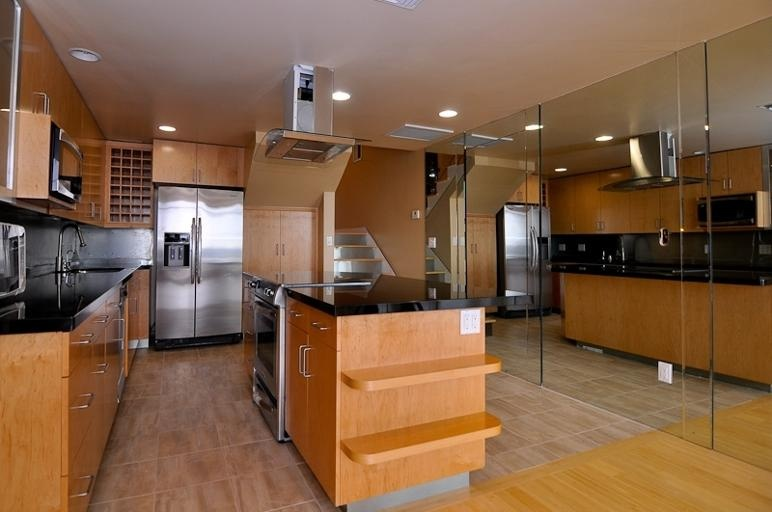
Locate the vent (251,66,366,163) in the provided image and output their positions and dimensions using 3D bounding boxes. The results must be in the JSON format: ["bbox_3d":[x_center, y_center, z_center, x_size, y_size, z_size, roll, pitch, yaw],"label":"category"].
[{"bbox_3d":[-0.767,-1.341,4.964,0.765,0.656,0.678,-2,6,-15],"label":"vent"}]

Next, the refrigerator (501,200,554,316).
[{"bbox_3d":[1.486,0.071,5.951,0.694,1.147,0.645,-1,-3,-35],"label":"refrigerator"}]

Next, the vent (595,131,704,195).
[{"bbox_3d":[2.337,-0.843,4.981,0.634,0.473,0.894,-1,-2,-43],"label":"vent"}]
